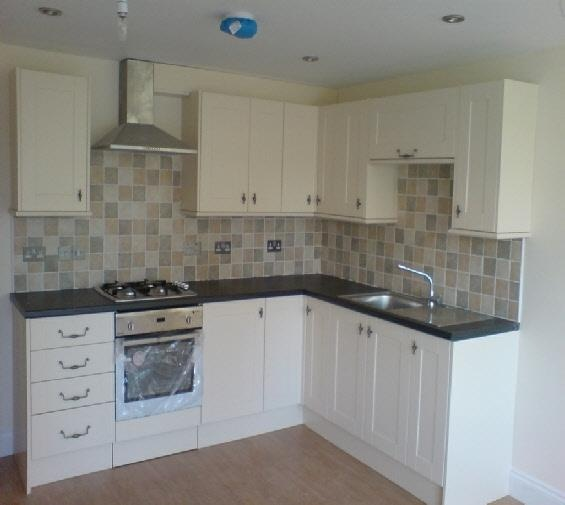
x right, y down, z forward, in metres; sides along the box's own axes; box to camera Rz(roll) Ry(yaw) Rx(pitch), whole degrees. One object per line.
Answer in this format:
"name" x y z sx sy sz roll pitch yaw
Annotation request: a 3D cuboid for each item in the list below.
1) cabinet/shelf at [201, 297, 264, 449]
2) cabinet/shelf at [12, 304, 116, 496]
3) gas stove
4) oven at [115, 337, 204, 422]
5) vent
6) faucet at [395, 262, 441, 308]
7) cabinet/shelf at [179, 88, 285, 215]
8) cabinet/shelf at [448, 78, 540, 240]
"cabinet/shelf" -0.351 0.774 3.766 0.517 0.850 0.131 -5 10 -40
"cabinet/shelf" -1.414 0.887 3.448 0.586 1.097 0.612 3 21 -16
"gas stove" -0.956 0.366 3.694 0.644 0.276 0.628 -3 10 -28
"oven" -0.892 0.738 3.657 0.681 0.680 0.443 3 -5 -38
"vent" -1.037 -1.041 3.723 0.724 0.666 0.680 -3 5 -25
"faucet" 0.964 0.214 3.710 0.290 0.277 0.565 3 9 13
"cabinet/shelf" -0.317 -0.755 4.131 0.693 0.913 0.293 0 5 -20
"cabinet/shelf" 1.280 -0.565 3.200 0.292 0.923 0.352 -8 12 -27
